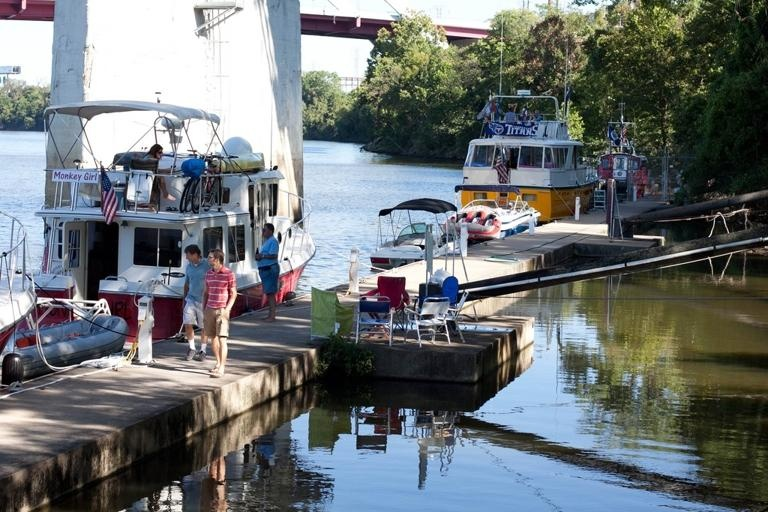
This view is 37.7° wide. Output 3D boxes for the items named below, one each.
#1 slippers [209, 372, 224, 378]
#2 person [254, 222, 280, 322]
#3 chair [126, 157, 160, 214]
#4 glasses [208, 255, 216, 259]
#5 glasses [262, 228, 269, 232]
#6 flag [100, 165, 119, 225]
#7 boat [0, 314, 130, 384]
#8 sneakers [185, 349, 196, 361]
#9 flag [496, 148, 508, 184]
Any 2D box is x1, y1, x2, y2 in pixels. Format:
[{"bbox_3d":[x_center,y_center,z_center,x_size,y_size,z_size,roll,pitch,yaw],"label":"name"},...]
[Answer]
[{"bbox_3d":[-3.460,2.440,23.252,0.246,0.101,0.143,-1,15,-7],"label":"slippers"},{"bbox_3d":[-2.777,0.403,26.811,0.477,2.264,0.667,-1,15,-7],"label":"person"},{"bbox_3d":[-5.741,-1.750,27.070,0.676,1.178,0.984,-3,15,-13],"label":"chair"},{"bbox_3d":[-3.616,0.007,23.465,0.140,0.044,0.138,7,-2,-11],"label":"glasses"},{"bbox_3d":[-2.817,-0.638,26.778,0.136,0.109,0.110,0,2,-7],"label":"glasses"},{"bbox_3d":[-6.481,-1.400,26.454,0.401,1.364,0.730,-3,15,-13],"label":"flag"},{"bbox_3d":[-7.054,1.940,24.094,1.358,0.795,3.376,9,17,31],"label":"boat"},{"bbox_3d":[-4.212,2.114,24.356,0.221,0.169,0.440,-1,15,-8],"label":"sneakers"},{"bbox_3d":[4.957,-3.834,47.532,0.571,1.316,0.855,0,14,-1],"label":"flag"}]
